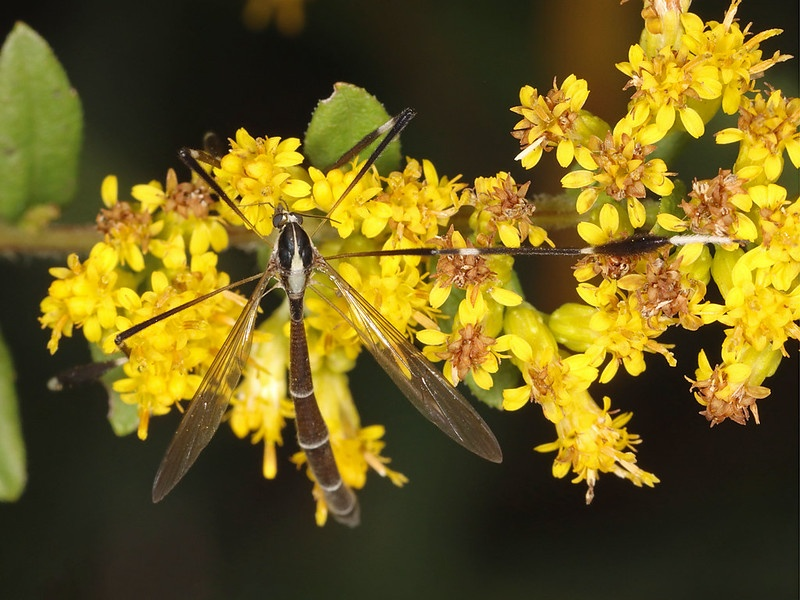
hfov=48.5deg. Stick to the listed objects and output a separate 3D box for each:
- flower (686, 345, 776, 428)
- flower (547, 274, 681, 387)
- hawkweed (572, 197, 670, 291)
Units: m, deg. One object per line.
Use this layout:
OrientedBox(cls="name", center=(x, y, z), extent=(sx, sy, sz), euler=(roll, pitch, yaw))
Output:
OrientedBox(cls="flower", center=(1.008, 0.259, 2.663), extent=(0.240, 0.217, 0.175), euler=(2, -20, -17))
OrientedBox(cls="flower", center=(0.620, 0.097, 2.647), extent=(0.344, 0.275, 0.155), euler=(-8, -19, 10))
OrientedBox(cls="hawkweed", center=(0.682, -0.170, 2.621), extent=(0.293, 0.128, 0.236), euler=(-6, -33, 36))
